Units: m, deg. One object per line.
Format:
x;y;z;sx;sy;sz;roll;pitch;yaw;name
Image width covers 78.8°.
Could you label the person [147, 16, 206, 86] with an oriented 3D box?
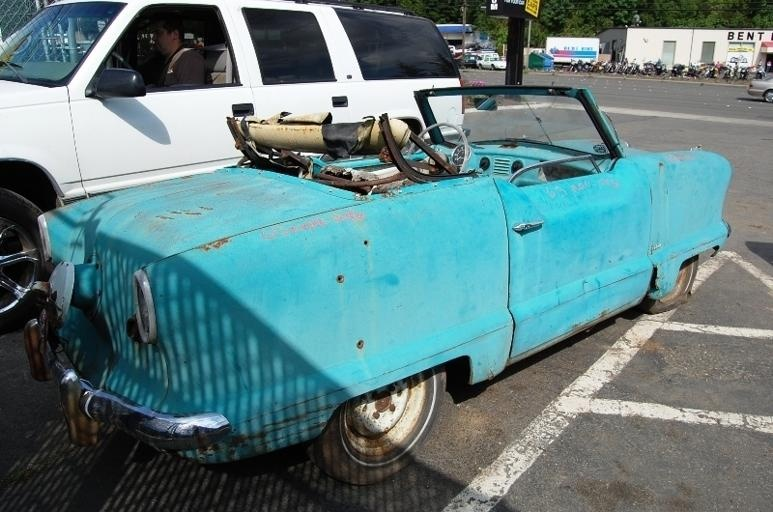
-2.381;-2.308;5.410;0.511;0.757;0.931;-7;27;-38;person
